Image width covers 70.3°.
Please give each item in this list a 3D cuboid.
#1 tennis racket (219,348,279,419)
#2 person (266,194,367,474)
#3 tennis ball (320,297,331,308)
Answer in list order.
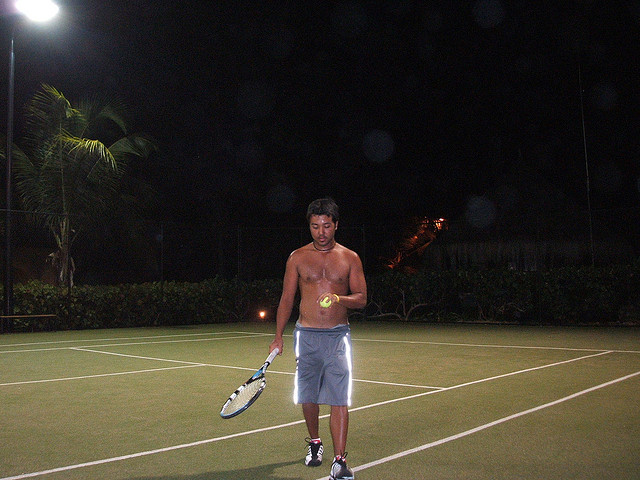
[{"bbox_3d":[-0.579,1.174,3.749,0.251,0.071,0.898,-26,9,27],"label":"tennis racket"},{"bbox_3d":[0.013,0.712,3.711,0.722,2.107,0.520,-1,-7,5],"label":"person"},{"bbox_3d":[0.043,0.469,3.476,0.082,0.071,0.036,0,-8,1],"label":"tennis ball"}]
